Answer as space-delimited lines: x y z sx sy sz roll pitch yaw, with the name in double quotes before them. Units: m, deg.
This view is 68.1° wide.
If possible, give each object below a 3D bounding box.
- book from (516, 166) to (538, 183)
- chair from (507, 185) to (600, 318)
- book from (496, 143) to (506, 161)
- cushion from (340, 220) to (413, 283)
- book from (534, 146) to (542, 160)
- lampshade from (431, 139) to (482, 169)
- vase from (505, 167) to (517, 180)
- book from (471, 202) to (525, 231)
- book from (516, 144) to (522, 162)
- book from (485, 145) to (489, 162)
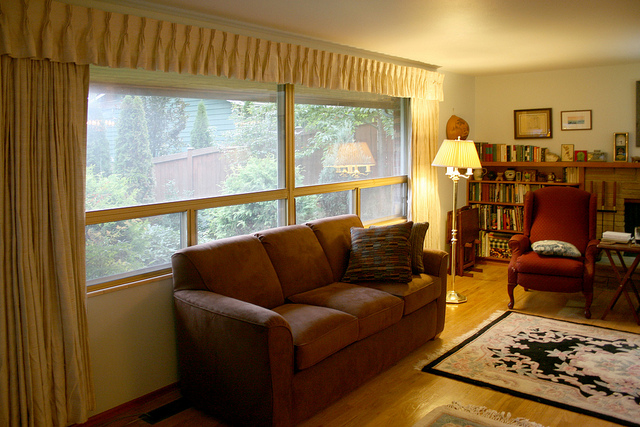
"book" 3.089 -0.583 7.098 0.252 0.207 0.092 5 8 43
"chair" 2.796 0.380 5.715 1.034 1.355 1.178 2 7 21
"book" 2.686 -0.959 7.141 0.184 0.303 0.331 1 2 20
"cushion" 0.608 0.398 4.689 0.685 0.601 0.239 -6 -24 20
"book" 3.192 -0.903 7.073 0.155 0.191 0.206 0 2 7
"lampshade" 1.658 -0.714 5.656 0.602 0.371 0.595 -2 15 -24
"vase" 2.860 -0.586 7.167 0.170 0.183 0.162 -2 7 -11
"book" 2.740 0.051 7.292 0.878 0.296 0.285 0 -4 -3
"book" 2.952 -0.896 7.087 0.138 0.222 0.241 1 3 24
"book" 2.558 -0.930 7.298 0.052 0.245 0.061 0 13 6
